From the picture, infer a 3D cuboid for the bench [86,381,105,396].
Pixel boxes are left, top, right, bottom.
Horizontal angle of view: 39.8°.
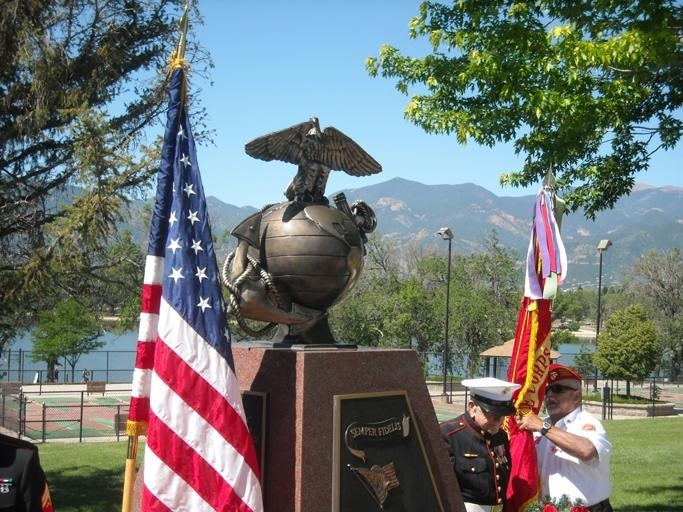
[{"bbox_3d":[-10.862,5.831,41.780,0.757,0.579,0.425,5,-2,-21],"label":"bench"}]
